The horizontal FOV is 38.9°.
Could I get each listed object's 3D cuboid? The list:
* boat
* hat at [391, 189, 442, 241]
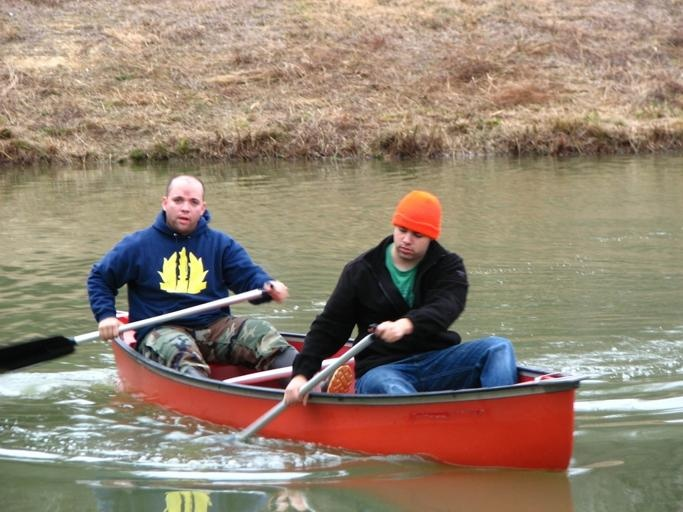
[{"bbox_3d":[-0.281,1.230,8.163,4.961,0.721,1.209,4,6,24],"label":"boat"},{"bbox_3d":[0.644,-0.350,7.822,0.410,0.310,0.391,22,-5,0],"label":"hat"}]
